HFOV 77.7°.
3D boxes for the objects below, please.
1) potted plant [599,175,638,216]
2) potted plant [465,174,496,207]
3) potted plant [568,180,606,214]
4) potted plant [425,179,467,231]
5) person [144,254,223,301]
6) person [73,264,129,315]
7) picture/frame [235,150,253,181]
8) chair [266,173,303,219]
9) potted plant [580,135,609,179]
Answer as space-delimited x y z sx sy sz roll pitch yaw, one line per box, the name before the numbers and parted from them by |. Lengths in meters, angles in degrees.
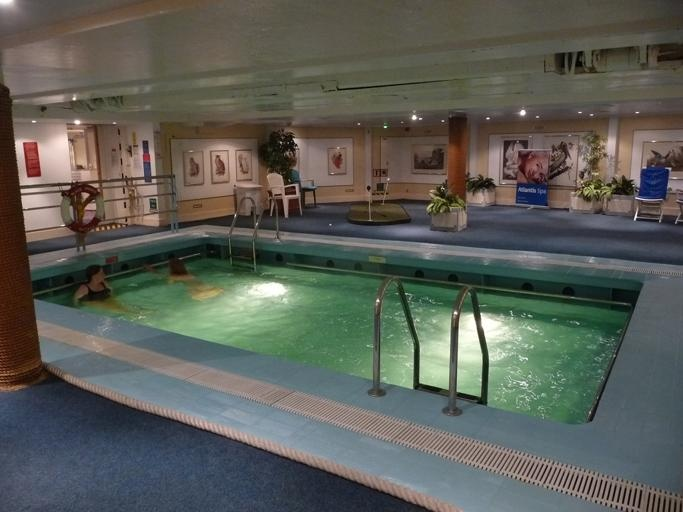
potted plant | 10.254 -2.157 15.177 1.568 1.403 1.580 3 11 27
potted plant | 5.883 -2.842 18.381 1.598 1.285 1.532 8 16 34
potted plant | 9.198 -2.163 15.582 1.330 1.109 1.326 -16 21 -38
potted plant | 2.905 -1.375 12.652 1.244 1.395 1.537 1 9 17
person | -2.915 0.480 7.916 1.403 0.341 0.775 24 22 21
person | -4.091 0.518 7.008 0.628 0.663 0.725 -12 18 -40
picture/frame | -3.647 -3.356 15.759 0.206 1.122 0.895 7 16 25
chair | -2.073 -2.226 15.351 1.215 1.502 1.954 -2 13 -9
potted plant | 9.498 -3.711 15.916 0.945 1.602 0.578 9 17 31
